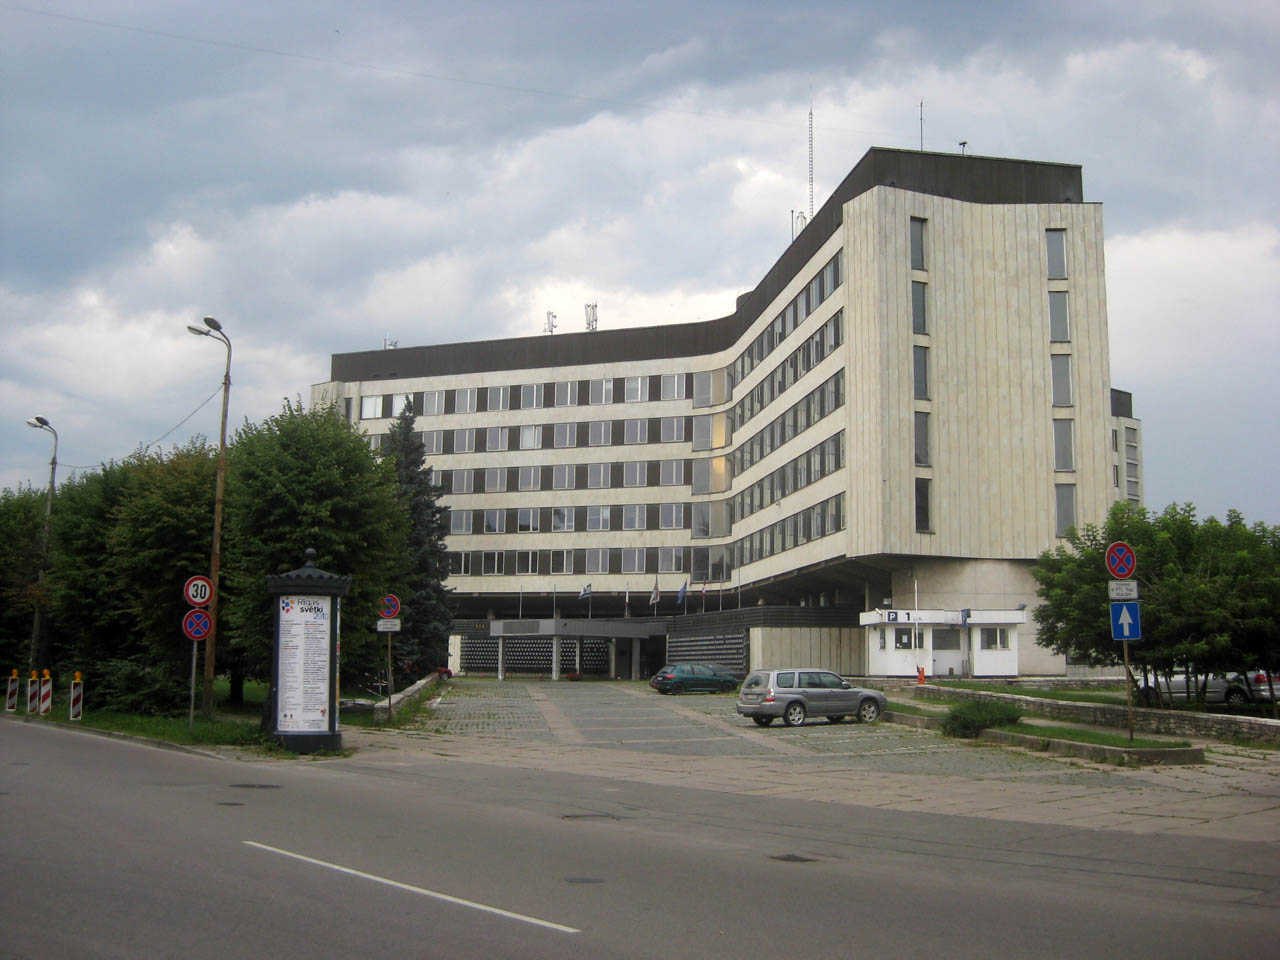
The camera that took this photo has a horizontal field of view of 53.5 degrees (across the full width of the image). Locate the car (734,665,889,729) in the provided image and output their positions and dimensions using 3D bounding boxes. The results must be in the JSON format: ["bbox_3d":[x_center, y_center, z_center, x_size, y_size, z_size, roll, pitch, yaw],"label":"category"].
[{"bbox_3d":[4.879,6.453,37.063,3.863,1.674,1.586,4,-11,-22],"label":"car"}]

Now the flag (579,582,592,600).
[{"bbox_3d":[-3.440,6.943,77.933,0.995,1.385,0.221,3,1,8],"label":"flag"}]
